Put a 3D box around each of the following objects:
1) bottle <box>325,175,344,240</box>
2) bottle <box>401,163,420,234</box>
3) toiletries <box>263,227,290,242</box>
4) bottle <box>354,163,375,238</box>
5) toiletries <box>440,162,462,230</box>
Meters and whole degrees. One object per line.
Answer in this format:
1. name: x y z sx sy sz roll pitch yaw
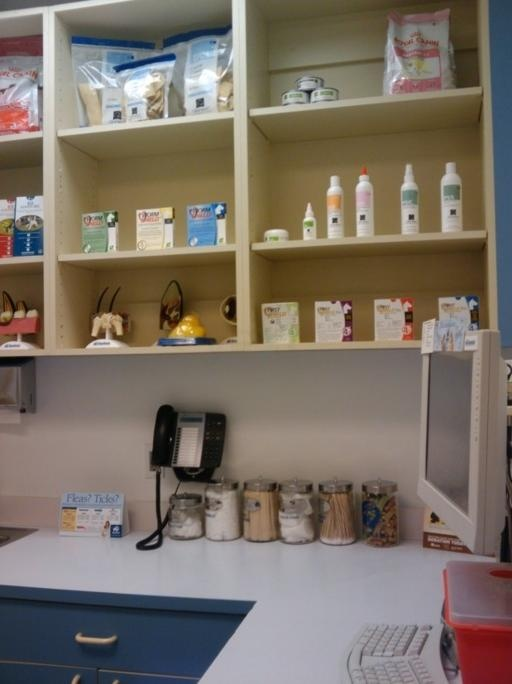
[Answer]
1. bottle: 0.230 -0.392 1.760 0.042 0.204 0.177 -2 1 5
2. bottle: 0.424 -0.377 1.653 0.042 0.178 0.061 -2 1 10
3. toiletries: 0.065 -0.310 1.785 0.055 0.031 0.055 -4 5 -42
4. bottle: 0.305 -0.392 1.688 0.043 0.196 0.052 -2 1 9
5. toiletries: 0.546 -0.394 1.672 0.052 0.201 0.147 -2 1 18
